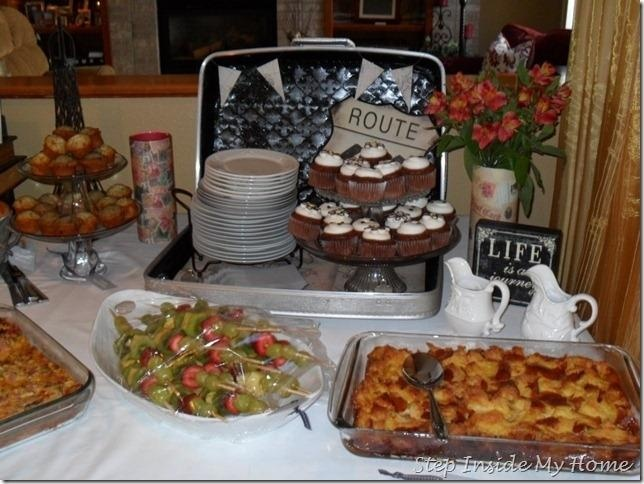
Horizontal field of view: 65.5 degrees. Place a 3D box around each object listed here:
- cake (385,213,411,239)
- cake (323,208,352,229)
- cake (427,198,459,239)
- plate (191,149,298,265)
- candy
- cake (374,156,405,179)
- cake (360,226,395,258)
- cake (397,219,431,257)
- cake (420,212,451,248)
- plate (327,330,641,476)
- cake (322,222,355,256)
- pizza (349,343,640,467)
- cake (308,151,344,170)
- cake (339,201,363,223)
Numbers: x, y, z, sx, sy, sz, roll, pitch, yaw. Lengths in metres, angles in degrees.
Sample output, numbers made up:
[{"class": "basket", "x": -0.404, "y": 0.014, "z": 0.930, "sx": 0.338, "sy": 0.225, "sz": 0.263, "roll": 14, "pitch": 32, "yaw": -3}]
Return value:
[{"class": "cake", "x": 0.159, "y": -0.035, "z": 1.030, "sx": 0.040, "sy": 0.015, "sz": 0.045, "roll": -4, "pitch": 31, "yaw": 2}, {"class": "cake", "x": 0.032, "y": -0.051, "z": 1.021, "sx": 0.040, "sy": 0.026, "sz": 0.041, "roll": -1, "pitch": 15, "yaw": -1}, {"class": "cake", "x": 0.253, "y": -0.052, "z": 1.074, "sx": 0.067, "sy": 0.065, "sz": 0.069, "roll": -1, "pitch": 20, "yaw": -1}, {"class": "plate", "x": -0.173, "y": -0.065, "z": 1.172, "sx": 0.236, "sy": 0.171, "sz": 0.245, "roll": 2, "pitch": 30, "yaw": -1}, {"class": "candy", "x": -0.171, "y": 0.182, "z": 0.759, "sx": 0.238, "sy": 0.083, "sz": 0.161, "roll": 7, "pitch": 59, "yaw": 9}, {"class": "cake", "x": 0.145, "y": -0.153, "z": 1.081, "sx": 0.072, "sy": 0.026, "sz": 0.078, "roll": -6, "pitch": 28, "yaw": 1}, {"class": "cake", "x": 0.108, "y": 0.003, "z": 0.964, "sx": 0.056, "sy": 0.052, "sz": 0.058, "roll": -1, "pitch": 11, "yaw": -1}, {"class": "cake", "x": 0.179, "y": -0.005, "z": 0.975, "sx": 0.058, "sy": 0.060, "sz": 0.067, "roll": -3, "pitch": 16, "yaw": 3}, {"class": "cake", "x": 0.224, "y": -0.026, "z": 1.010, "sx": 0.056, "sy": 0.060, "sz": 0.064, "roll": -1, "pitch": 18, "yaw": 3}, {"class": "plate", "x": 0.238, "y": 0.242, "z": 0.739, "sx": 0.383, "sy": 0.069, "sz": 0.192, "roll": 4, "pitch": 36, "yaw": 4}, {"class": "cake", "x": 0.033, "y": -0.005, "z": 0.988, "sx": 0.061, "sy": 0.059, "sz": 0.063, "roll": 0, "pitch": 20, "yaw": 0}, {"class": "pizza", "x": 0.260, "y": 0.251, "z": 0.753, "sx": 0.336, "sy": 0.062, "sz": 0.180, "roll": 3, "pitch": 35, "yaw": 3}, {"class": "cake", "x": 0.014, "y": -0.182, "z": 1.102, "sx": 0.066, "sy": 0.025, "sz": 0.054, "roll": 13, "pitch": 28, "yaw": 24}, {"class": "cake", "x": 0.067, "y": -0.071, "z": 1.111, "sx": 0.044, "sy": 0.045, "sz": 0.046, "roll": -1, "pitch": 21, "yaw": -1}]
